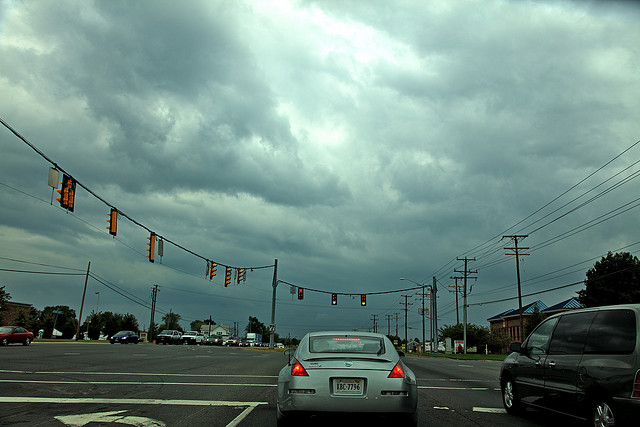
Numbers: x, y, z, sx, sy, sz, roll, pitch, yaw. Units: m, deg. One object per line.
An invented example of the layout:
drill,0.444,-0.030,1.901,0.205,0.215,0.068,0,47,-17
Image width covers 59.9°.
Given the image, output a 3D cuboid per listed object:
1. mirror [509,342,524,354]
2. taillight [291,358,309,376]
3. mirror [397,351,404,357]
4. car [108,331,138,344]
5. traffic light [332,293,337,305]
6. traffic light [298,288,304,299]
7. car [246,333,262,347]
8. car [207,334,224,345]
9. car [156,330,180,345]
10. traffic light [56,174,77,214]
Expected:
mirror,5.590,3.836,15.824,0.368,0.426,0.595,-6,-25,16
taillight,-0.488,3.569,12.873,0.455,0.395,0.157,-18,-29,36
mirror,2.023,3.565,14.122,0.274,0.084,0.281,1,-5,0
car,-22.070,14.196,63.039,1.474,1.051,3.309,-3,-25,1
traffic light,1.495,9.571,61.778,0.418,1.401,0.865,4,-23,-8
traffic light,-2.056,8.476,58.760,0.349,1.277,0.939,6,-24,-11
car,-14.622,27.053,119.761,1.828,2.501,5.194,-1,-23,1
car,-15.193,18.260,80.170,1.848,1.426,3.278,5,-8,-5
car,-19.438,15.950,72.252,1.760,1.318,3.160,0,-21,0
traffic light,-11.252,-0.734,24.447,0.905,1.544,0.778,-14,-23,31
